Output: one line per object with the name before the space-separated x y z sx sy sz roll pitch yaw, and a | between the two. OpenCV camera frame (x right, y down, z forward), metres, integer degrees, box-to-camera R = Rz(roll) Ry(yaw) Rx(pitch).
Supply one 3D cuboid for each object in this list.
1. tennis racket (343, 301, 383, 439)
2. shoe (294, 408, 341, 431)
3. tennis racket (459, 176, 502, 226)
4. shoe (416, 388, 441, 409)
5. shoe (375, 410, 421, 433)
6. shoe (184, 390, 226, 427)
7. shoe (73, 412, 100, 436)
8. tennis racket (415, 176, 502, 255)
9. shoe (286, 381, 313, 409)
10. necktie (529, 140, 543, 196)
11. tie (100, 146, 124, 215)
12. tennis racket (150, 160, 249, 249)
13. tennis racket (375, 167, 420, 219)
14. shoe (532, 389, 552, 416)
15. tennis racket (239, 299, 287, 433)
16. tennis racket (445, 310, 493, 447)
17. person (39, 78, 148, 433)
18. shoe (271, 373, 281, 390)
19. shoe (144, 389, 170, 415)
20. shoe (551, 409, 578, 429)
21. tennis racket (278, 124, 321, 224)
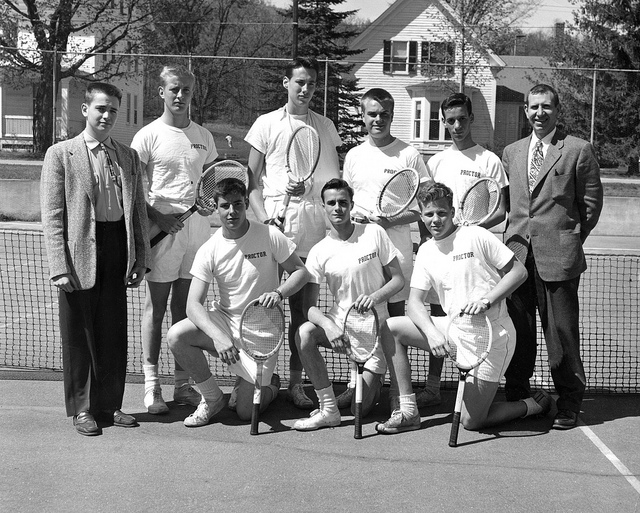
tennis racket | 0.349 0.908 6.804 0.326 1.064 0.619 2 12 6
shoe | -0.019 1.351 6.815 0.392 0.171 0.161 0 -4 -9
tennis racket | 1.439 -0.474 7.320 0.117 0.514 0.298 23 7 -40
shoe | 0.976 1.293 7.468 0.272 0.124 0.107 2 -4 -32
shoe | 0.664 1.387 6.869 0.397 0.183 0.150 1 -6 -13
shoe | -0.950 1.287 6.957 0.144 0.180 0.435 1 16 36
shoe | -1.889 1.343 6.621 0.171 0.127 0.246 -5 14 -26
tennis racket | 1.193 -0.416 7.085 1.323 0.444 0.149 -8 22 -44
shoe | -0.181 1.247 7.385 0.182 0.177 0.386 -3 13 -18
necktie | 1.899 -0.773 7.170 0.103 0.472 0.170 4 12 15
tie | -1.698 -0.636 6.702 0.162 0.536 0.037 -17 -2 -13
tennis racket | -1.223 -0.400 7.648 0.067 0.368 1.301 -44 7 -31
tennis racket | 0.699 -0.569 7.324 0.096 0.503 0.309 26 -6 -36
shoe | 1.959 1.281 7.202 0.099 0.226 0.132 11 12 -45
tennis racket | -0.476 0.891 6.736 0.368 1.058 0.366 0 12 -4
tennis racket | 1.194 0.960 6.646 0.376 1.038 0.527 3 12 9
person | -1.813 0.006 6.701 0.819 2.757 0.710 -5 13 -26
shoe | -0.401 1.146 7.567 0.095 0.119 0.129 0 -12 3
shoe | -1.419 1.257 7.119 0.193 0.164 0.256 -3 13 -19
shoe | 2.092 1.366 6.933 0.233 0.138 0.195 3 13 7
tennis racket | -0.148 -0.905 7.304 0.281 0.505 0.289 -2 13 -14
